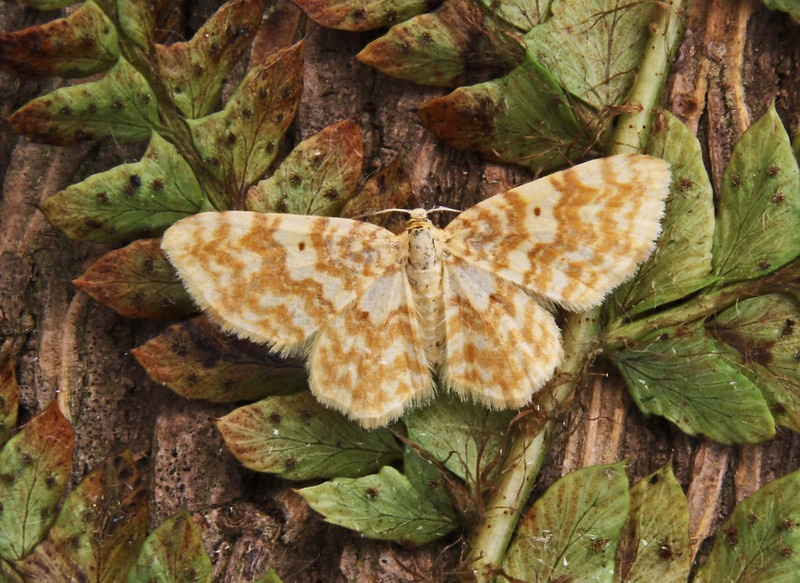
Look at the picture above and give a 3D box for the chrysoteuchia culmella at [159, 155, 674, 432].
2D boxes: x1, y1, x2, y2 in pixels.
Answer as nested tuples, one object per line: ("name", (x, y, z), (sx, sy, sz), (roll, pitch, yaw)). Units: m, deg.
("chrysoteuchia culmella", (0.115, 0.030, 5.330), (1.994, 0.387, 0.928), (-7, 85, -1))
